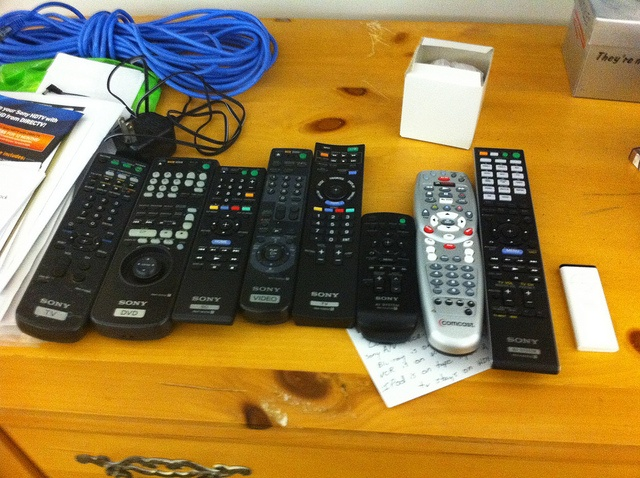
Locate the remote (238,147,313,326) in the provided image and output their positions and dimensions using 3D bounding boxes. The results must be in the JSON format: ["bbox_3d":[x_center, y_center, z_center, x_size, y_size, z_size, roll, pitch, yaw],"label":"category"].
[{"bbox_3d":[-0.043,-0.015,0.611,0.070,0.039,0.207,7,55,4],"label":"remote"}]

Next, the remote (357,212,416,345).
[{"bbox_3d":[0.075,0.043,0.565,0.082,0.041,0.128,-1,63,4],"label":"remote"}]

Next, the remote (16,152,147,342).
[{"bbox_3d":[-0.265,0.007,0.597,0.100,0.031,0.216,12,50,0],"label":"remote"}]

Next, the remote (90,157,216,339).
[{"bbox_3d":[-0.184,-0.006,0.584,0.109,0.036,0.212,4,45,2],"label":"remote"}]

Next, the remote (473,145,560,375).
[{"bbox_3d":[0.224,0.004,0.563,0.083,0.019,0.251,7,51,10],"label":"remote"}]
